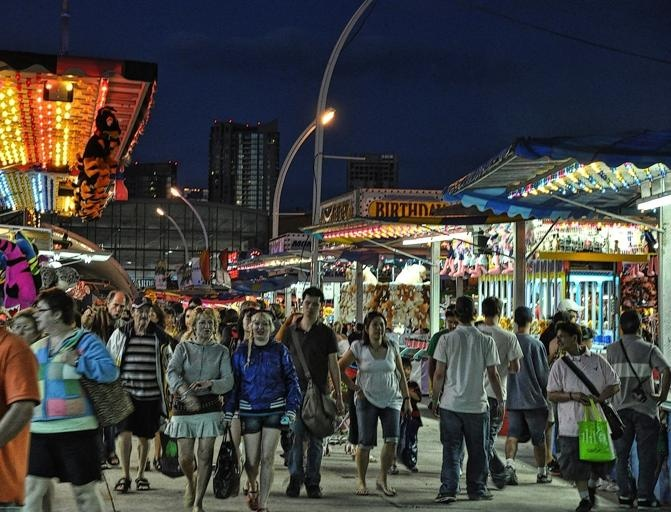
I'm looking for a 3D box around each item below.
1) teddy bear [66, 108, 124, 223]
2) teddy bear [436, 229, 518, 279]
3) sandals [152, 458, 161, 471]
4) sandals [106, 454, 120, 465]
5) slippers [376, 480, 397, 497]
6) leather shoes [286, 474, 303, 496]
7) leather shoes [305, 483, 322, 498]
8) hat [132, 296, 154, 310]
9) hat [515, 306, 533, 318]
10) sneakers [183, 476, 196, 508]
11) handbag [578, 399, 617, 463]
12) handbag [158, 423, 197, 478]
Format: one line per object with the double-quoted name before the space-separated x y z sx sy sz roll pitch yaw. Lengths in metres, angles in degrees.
"teddy bear" -3.081 -1.196 10.824 0.384 0.434 1.008 21 -37 5
"teddy bear" 2.877 -0.052 17.537 0.510 0.806 2.115 1 -1 -14
"sandals" -2.319 2.703 11.058 0.107 0.119 0.320 2 -8 -12
"sandals" -2.980 2.720 11.399 0.116 0.113 0.147 8 24 -4
"slippers" 0.589 2.737 10.054 0.096 0.131 0.284 27 -9 -28
"leather shoes" -0.474 2.678 9.860 0.105 0.240 0.327 3 -4 -8
"leather shoes" -0.251 2.709 9.843 0.168 0.132 0.220 -1 7 -9
"hat" -2.307 0.584 10.258 0.192 0.147 0.310 16 -18 -22
"hat" 2.479 0.738 11.169 0.140 0.196 0.190 3 11 4
"sneakers" -1.598 2.547 9.218 0.118 0.375 0.152 1 3 18
"handbag" 2.830 1.905 9.226 0.372 0.689 0.321 1 -4 9
"handbag" -1.846 2.215 9.582 0.264 0.593 1.057 3 -4 -11
